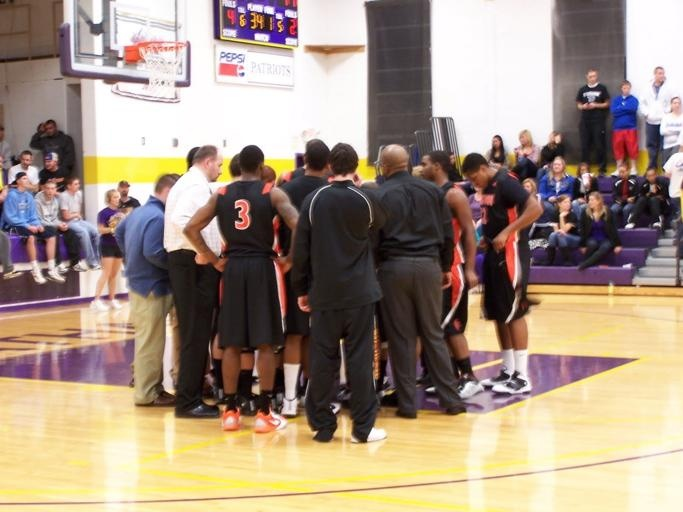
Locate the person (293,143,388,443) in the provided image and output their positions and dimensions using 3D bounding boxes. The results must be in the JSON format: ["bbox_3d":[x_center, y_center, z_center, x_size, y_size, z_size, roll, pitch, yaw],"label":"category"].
[{"bbox_3d":[-0.046,0.248,5.836,0.646,2.300,0.547,-4,14,-15],"label":"person"}]

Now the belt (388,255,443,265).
[{"bbox_3d":[0.625,0.017,6.114,0.466,0.057,0.135,-2,3,-18],"label":"belt"}]

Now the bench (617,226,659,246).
[{"bbox_3d":[5.422,-0.337,13.480,0.717,0.342,0.469,-1,3,6],"label":"bench"}]

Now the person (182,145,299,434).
[{"bbox_3d":[-0.725,0.256,5.967,0.863,2.279,0.315,-1,2,11],"label":"person"}]

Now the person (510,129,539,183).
[{"bbox_3d":[3.775,-1.917,15.290,0.463,1.492,0.739,-6,-13,30],"label":"person"}]

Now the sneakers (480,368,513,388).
[{"bbox_3d":[1.483,1.153,7.119,0.349,0.173,0.127,-6,-4,11],"label":"sneakers"}]

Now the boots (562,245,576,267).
[{"bbox_3d":[4.081,-0.011,13.320,0.318,0.409,0.223,2,-3,-9],"label":"boots"}]

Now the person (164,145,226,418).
[{"bbox_3d":[-1.185,0.182,6.532,0.659,2.295,0.769,3,11,1],"label":"person"}]

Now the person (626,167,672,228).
[{"bbox_3d":[5.707,-1.119,13.774,0.534,1.047,1.126,0,19,41],"label":"person"}]

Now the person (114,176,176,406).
[{"bbox_3d":[-1.716,0.298,6.937,0.550,2.081,0.675,0,3,-35],"label":"person"}]

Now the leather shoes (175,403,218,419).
[{"bbox_3d":[-1.220,1.330,6.410,0.277,0.117,0.159,-3,-4,-3],"label":"leather shoes"}]

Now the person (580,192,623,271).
[{"bbox_3d":[4.429,-0.475,13.077,0.662,1.246,0.932,6,26,42],"label":"person"}]

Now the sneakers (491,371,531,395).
[{"bbox_3d":[1.581,1.167,6.873,0.414,0.215,0.156,2,-4,-18],"label":"sneakers"}]

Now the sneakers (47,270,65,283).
[{"bbox_3d":[-4.737,0.336,12.524,0.335,0.149,0.132,15,41,28],"label":"sneakers"}]

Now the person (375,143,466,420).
[{"bbox_3d":[0.609,0.141,6.315,0.721,2.174,0.561,-4,13,0],"label":"person"}]

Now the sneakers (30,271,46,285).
[{"bbox_3d":[-5.005,0.350,12.362,0.151,0.173,0.354,-5,-6,-30],"label":"sneakers"}]

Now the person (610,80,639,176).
[{"bbox_3d":[5.784,-2.605,15.231,0.533,1.808,0.426,0,3,17],"label":"person"}]

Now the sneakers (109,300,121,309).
[{"bbox_3d":[-3.859,0.826,12.805,0.119,0.162,0.335,-6,10,-43],"label":"sneakers"}]

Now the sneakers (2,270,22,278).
[{"bbox_3d":[-5.260,0.287,11.940,0.304,0.145,0.107,-17,-13,26],"label":"sneakers"}]

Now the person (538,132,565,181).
[{"bbox_3d":[4.313,-1.934,15.262,0.445,1.218,0.642,9,-2,9],"label":"person"}]

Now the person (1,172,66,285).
[{"bbox_3d":[-5.112,-0.473,12.357,0.902,1.857,0.543,-2,3,-25],"label":"person"}]

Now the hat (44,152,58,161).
[{"bbox_3d":[-5.184,-1.788,13.437,0.174,0.135,0.241,1,5,2],"label":"hat"}]

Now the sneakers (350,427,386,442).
[{"bbox_3d":[0.214,1.350,5.731,0.282,0.135,0.106,-5,7,-22],"label":"sneakers"}]

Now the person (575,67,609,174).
[{"bbox_3d":[5.236,-2.808,15.486,0.644,2.214,0.639,0,3,22],"label":"person"}]

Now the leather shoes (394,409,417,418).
[{"bbox_3d":[0.549,1.296,6.245,0.063,0.079,0.176,2,-2,-38],"label":"leather shoes"}]

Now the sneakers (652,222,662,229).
[{"bbox_3d":[5.760,-0.564,13.586,0.096,0.133,0.137,9,28,6],"label":"sneakers"}]

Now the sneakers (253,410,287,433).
[{"bbox_3d":[-0.565,1.309,5.972,0.111,0.142,0.294,1,2,28],"label":"sneakers"}]

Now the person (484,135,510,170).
[{"bbox_3d":[3.319,-2.165,15.887,0.461,0.836,0.494,-4,-10,11],"label":"person"}]

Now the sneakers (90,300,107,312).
[{"bbox_3d":[-4.048,0.809,12.572,0.224,0.163,0.433,-3,4,-36],"label":"sneakers"}]
